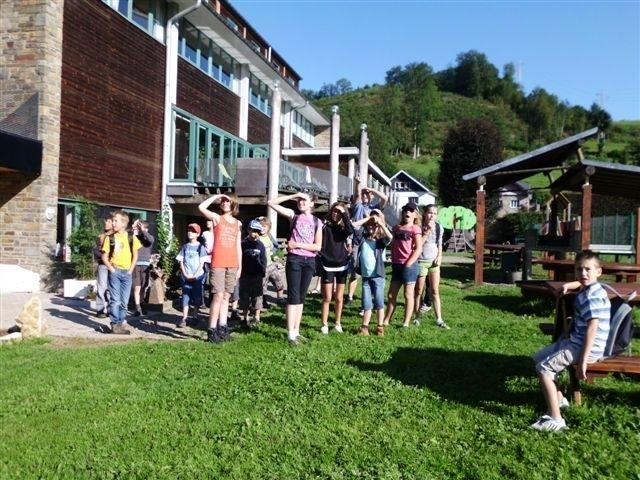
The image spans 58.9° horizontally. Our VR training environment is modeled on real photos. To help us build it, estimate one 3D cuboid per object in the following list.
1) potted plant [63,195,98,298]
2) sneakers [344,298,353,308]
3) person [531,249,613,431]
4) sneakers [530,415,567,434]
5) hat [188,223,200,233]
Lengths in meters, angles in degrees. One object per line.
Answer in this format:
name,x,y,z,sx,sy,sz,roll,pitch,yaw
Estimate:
potted plant,-6.338,-0.001,15.307,0.885,2.066,2.137,-2,8,-22
sneakers,0.617,1.411,12.723,0.137,0.165,0.152,1,-3,25
person,2.891,1.159,6.625,0.861,1.988,0.452,-2,7,-19
sneakers,2.625,2.123,6.503,0.424,0.212,0.170,1,-9,-1
hat,-2.492,-0.217,11.024,0.203,0.191,0.368,1,-6,4
